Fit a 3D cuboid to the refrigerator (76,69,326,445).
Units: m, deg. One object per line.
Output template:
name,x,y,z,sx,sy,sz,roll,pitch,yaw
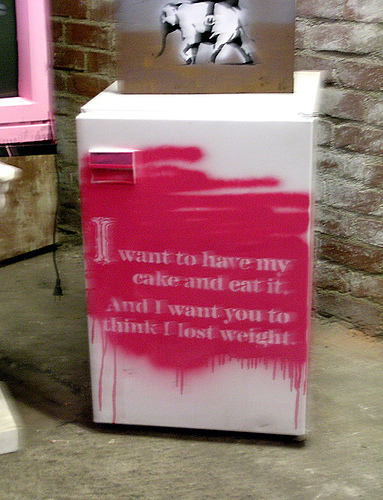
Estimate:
refrigerator,0.032,0.055,1.095,0.479,0.742,0.176,3,20,10
